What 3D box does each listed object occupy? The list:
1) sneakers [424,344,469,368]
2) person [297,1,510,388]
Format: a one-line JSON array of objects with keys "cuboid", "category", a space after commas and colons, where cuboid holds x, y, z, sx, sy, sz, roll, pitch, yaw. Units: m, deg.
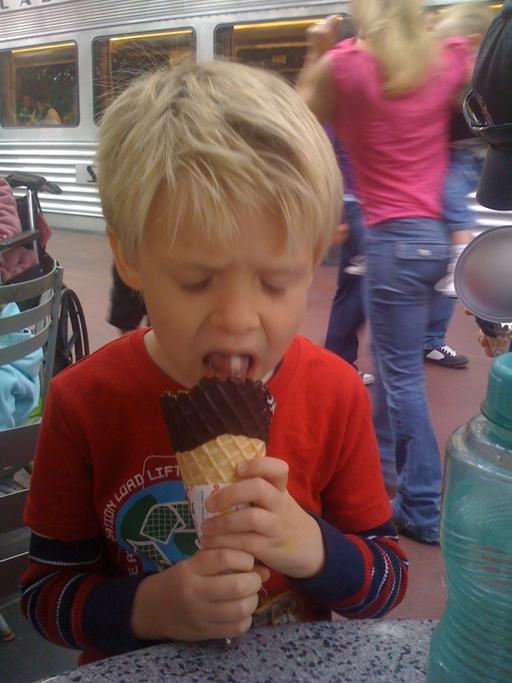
[{"cuboid": [1.128, 0.083, 3.153, 0.243, 0.107, 0.080, 7, 35, 5], "category": "sneakers"}, {"cuboid": [0.647, -0.428, 2.306, 0.741, 1.676, 0.623, -3, 19, -7], "category": "person"}]
